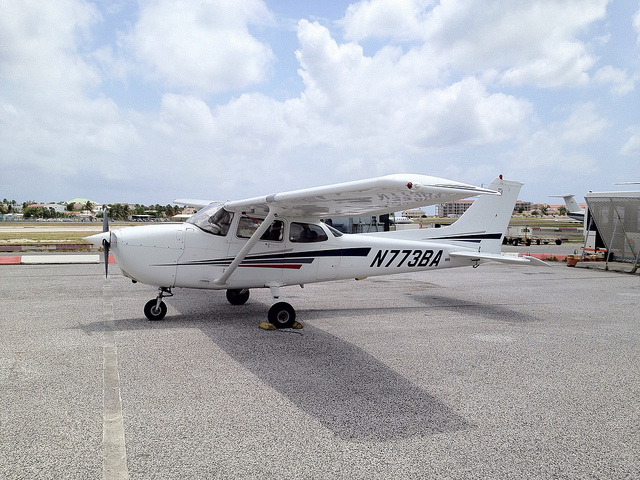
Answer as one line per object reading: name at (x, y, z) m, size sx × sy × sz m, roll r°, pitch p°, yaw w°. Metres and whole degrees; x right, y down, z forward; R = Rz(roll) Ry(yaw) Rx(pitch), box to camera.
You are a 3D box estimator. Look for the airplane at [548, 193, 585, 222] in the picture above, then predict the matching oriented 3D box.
airplane at (29.580, -3.530, 42.572) m, size 1.756 × 3.082 × 6.184 m, roll 4°, pitch 0°, yaw 38°
